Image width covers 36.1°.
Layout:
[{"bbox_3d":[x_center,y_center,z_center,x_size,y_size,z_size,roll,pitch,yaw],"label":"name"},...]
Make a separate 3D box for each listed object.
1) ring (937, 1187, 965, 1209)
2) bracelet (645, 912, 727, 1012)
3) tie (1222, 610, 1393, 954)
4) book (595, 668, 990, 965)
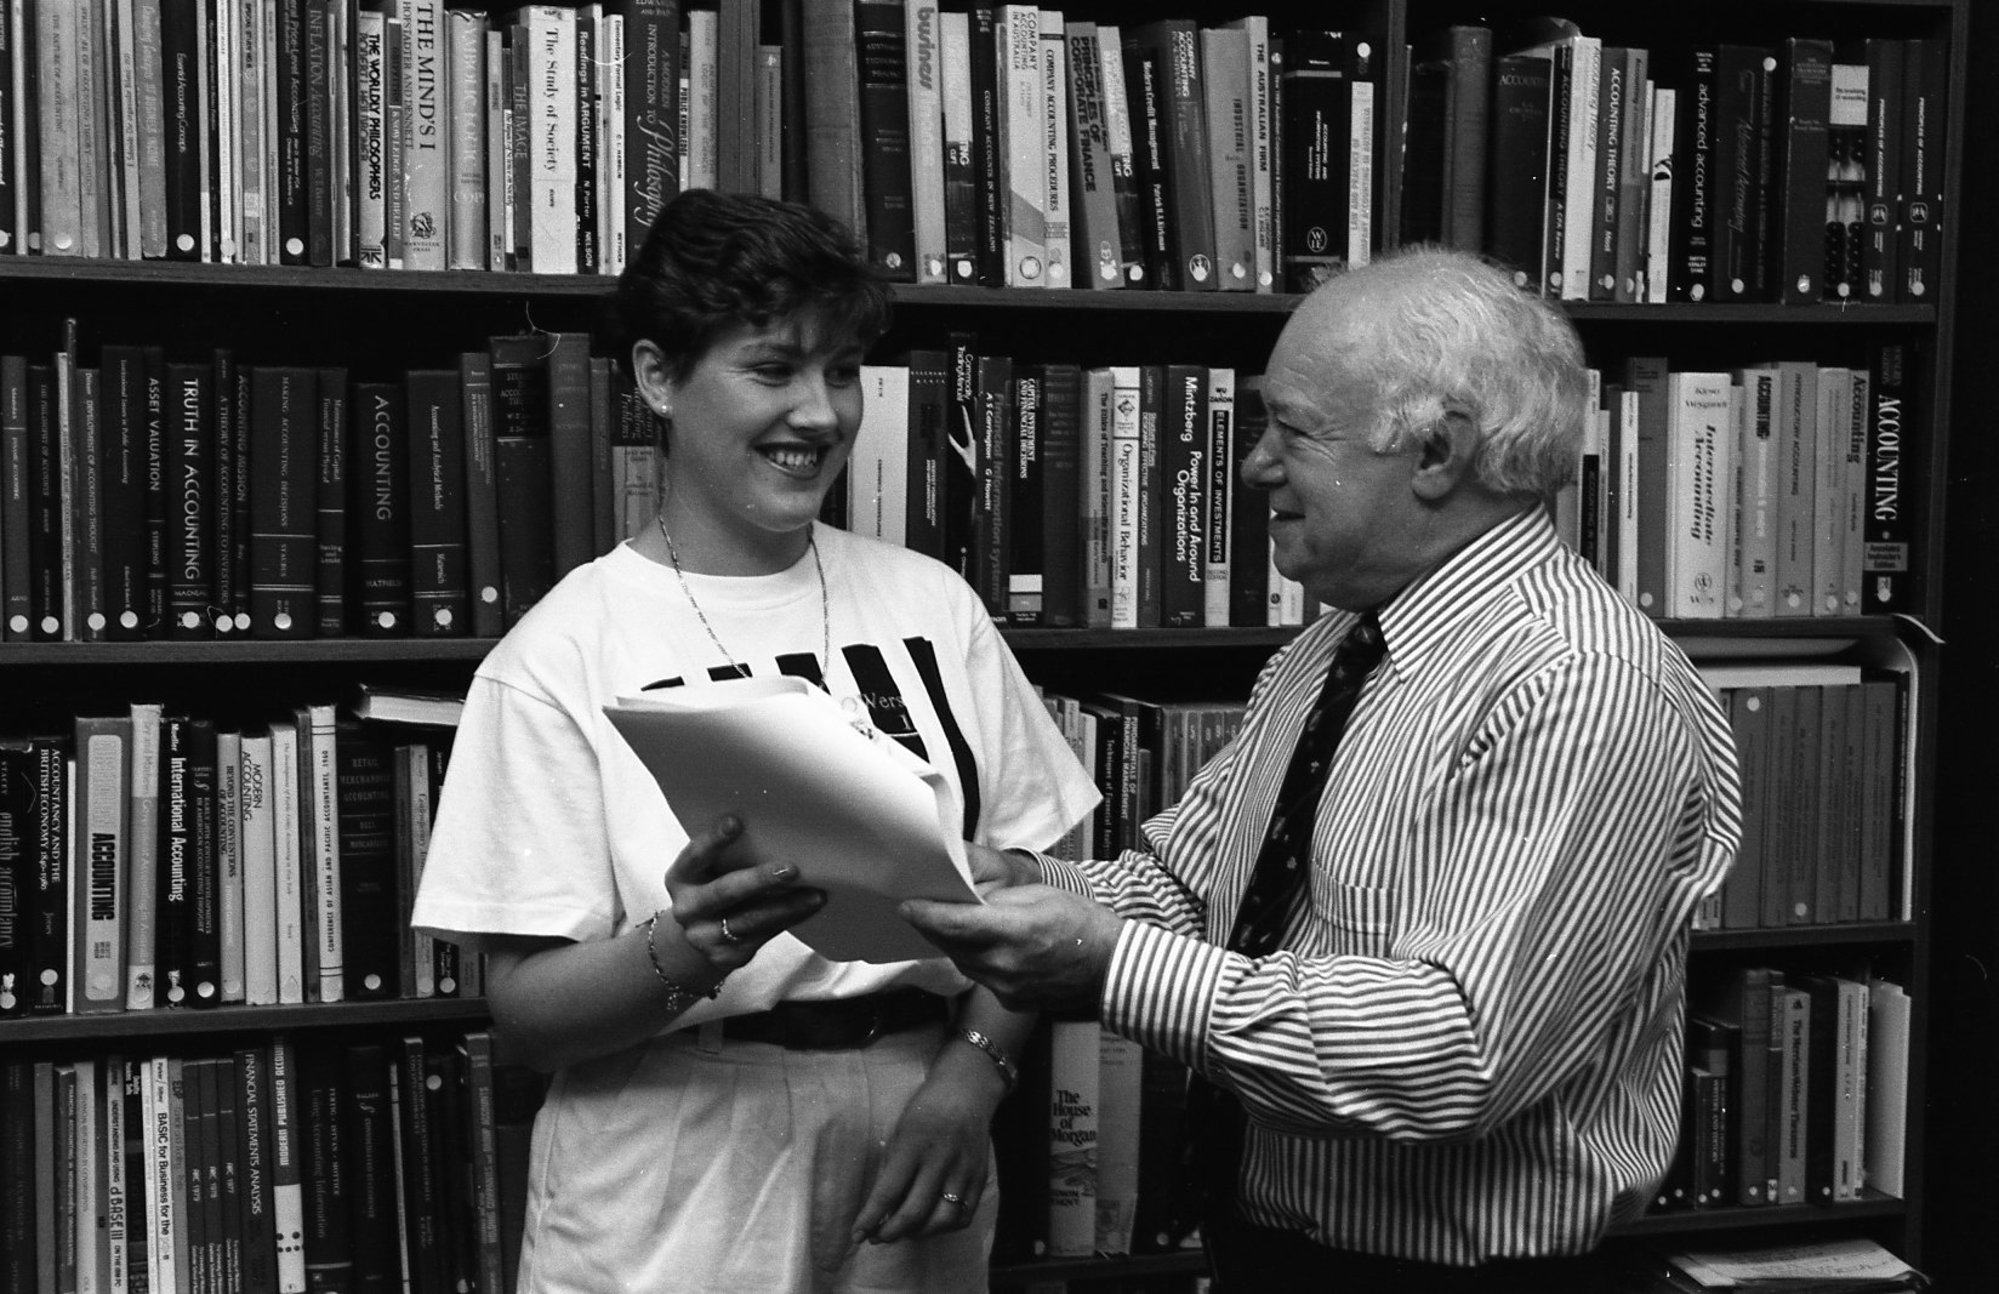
[{"bbox_3d":[-0.069,0.761,4.269,0.032,0.020,0.034,0,-5,0],"label":"ring"},{"bbox_3d":[-0.433,0.444,4.154,0.033,0.088,0.120,-3,-19,-26],"label":"bracelet"},{"bbox_3d":[0.426,0.201,4.185,0.064,0.493,0.078,33,-8,-41],"label":"tie"},{"bbox_3d":[-0.273,0.228,4.032,0.455,0.373,0.288,-4,-8,-5],"label":"book"}]
